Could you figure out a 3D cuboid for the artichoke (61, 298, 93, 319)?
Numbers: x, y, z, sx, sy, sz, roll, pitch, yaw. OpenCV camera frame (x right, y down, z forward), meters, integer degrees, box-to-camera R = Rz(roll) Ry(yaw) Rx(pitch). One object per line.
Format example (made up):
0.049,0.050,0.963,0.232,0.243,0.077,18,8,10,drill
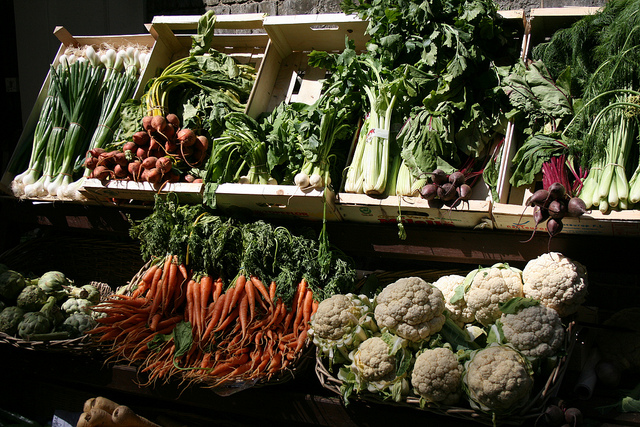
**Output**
-1.781,0.685,3.442,0.212,0.163,0.184,-1,-9,-13,artichoke

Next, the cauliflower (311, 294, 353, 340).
0.062,0.574,2.550,0.189,0.115,0.232,-29,43,14,cauliflower

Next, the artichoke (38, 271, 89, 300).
-1.955,0.498,3.557,0.352,0.246,0.249,15,-8,-20,artichoke

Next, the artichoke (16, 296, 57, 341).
-1.973,0.714,3.307,0.209,0.165,0.361,-5,37,-8,artichoke

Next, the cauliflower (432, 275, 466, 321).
0.763,0.504,2.715,0.135,0.243,0.178,15,-25,-38,cauliflower

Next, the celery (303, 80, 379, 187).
0.165,-0.415,2.940,0.431,0.708,0.439,-9,36,-9,celery

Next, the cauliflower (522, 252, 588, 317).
1.281,0.401,2.644,0.346,0.301,0.309,39,-25,-5,cauliflower

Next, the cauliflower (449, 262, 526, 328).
0.962,0.496,2.648,0.333,0.373,0.231,19,0,41,cauliflower

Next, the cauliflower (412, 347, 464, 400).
0.601,0.832,2.374,0.248,0.229,0.155,7,14,17,cauliflower

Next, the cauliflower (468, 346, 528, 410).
0.887,0.839,2.385,0.246,0.287,0.250,6,41,8,cauliflower

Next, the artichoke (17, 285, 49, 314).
-2.079,0.617,3.335,0.144,0.165,0.180,-12,-10,-13,artichoke
